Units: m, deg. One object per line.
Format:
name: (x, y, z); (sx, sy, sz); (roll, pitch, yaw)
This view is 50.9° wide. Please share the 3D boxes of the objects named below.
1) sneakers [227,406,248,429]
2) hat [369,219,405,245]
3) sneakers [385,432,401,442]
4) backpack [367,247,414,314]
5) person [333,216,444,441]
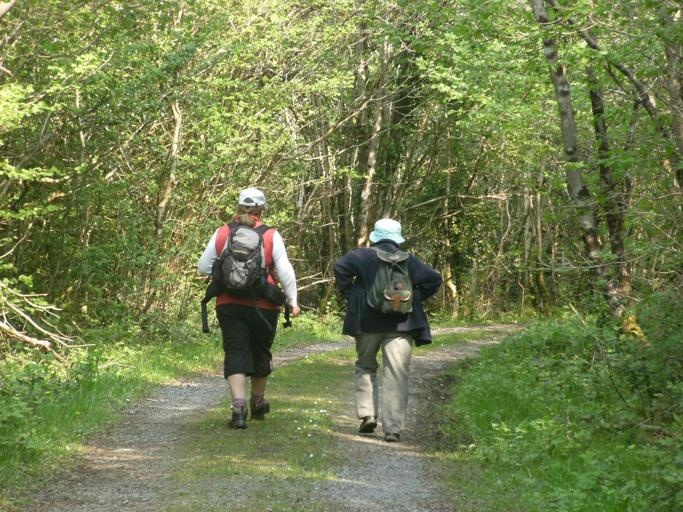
sneakers: (-1.219, 1.825, 8.279); (0.235, 0.273, 0.230); (1, 3, -2)
hat: (0.542, -0.300, 8.707); (0.362, 0.185, 0.308); (2, 3, -6)
sneakers: (0.607, 2.099, 8.426); (0.231, 0.108, 0.101); (1, 3, -24)
backpack: (0.569, 0.271, 8.411); (0.547, 0.779, 0.315); (2, 3, 4)
person: (0.501, 0.853, 8.521); (1.190, 2.581, 0.469); (2, 3, 1)
